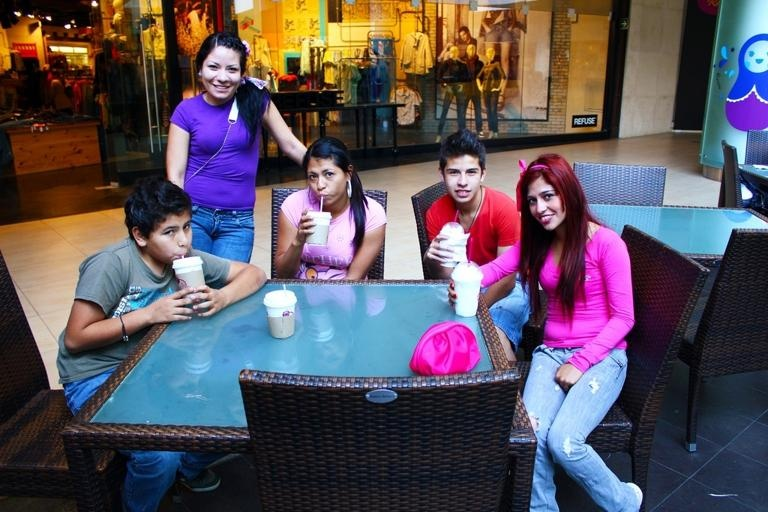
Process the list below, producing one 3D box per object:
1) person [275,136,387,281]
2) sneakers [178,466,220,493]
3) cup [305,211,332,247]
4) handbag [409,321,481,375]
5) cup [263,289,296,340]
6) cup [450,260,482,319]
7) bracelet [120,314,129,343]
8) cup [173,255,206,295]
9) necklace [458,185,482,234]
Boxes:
[{"bbox_3d":[-0.300,-0.200,2.440,0.603,0.742,0.439,-3,18,-1],"label":"person"},{"bbox_3d":[-0.839,1.040,2.297,0.220,0.097,0.089,0,23,-2],"label":"sneakers"},{"bbox_3d":[-0.306,-0.124,2.284,0.137,0.145,0.139,2,10,0],"label":"cup"},{"bbox_3d":[0.192,0.292,1.564,0.234,0.149,0.133,-3,17,-28],"label":"handbag"},{"bbox_3d":[-0.385,0.222,1.802,0.130,0.140,0.129,-4,7,1],"label":"cup"},{"bbox_3d":[0.324,0.138,1.952,0.150,0.215,0.146,-1,1,0],"label":"cup"},{"bbox_3d":[-0.997,0.279,1.874,0.024,0.082,0.060,-17,10,-20],"label":"bracelet"},{"bbox_3d":[-0.744,0.068,1.910,0.116,0.116,0.117,-15,12,3],"label":"cup"},{"bbox_3d":[0.456,-0.246,2.580,0.133,0.235,0.056,14,22,28],"label":"necklace"}]
